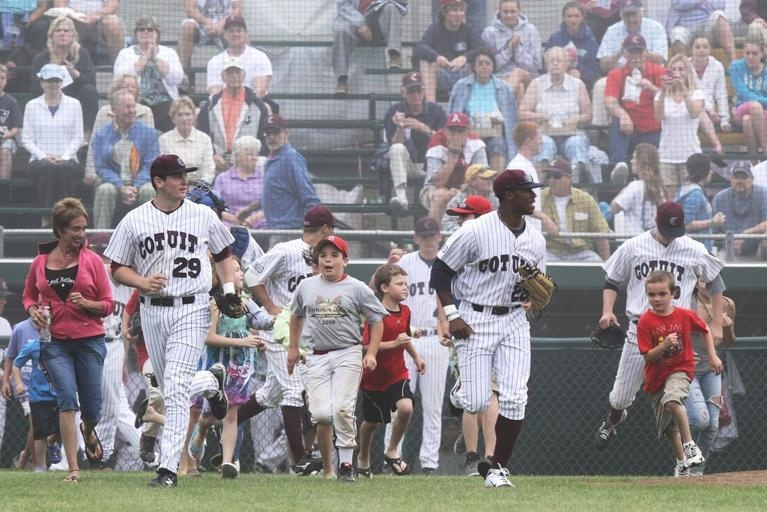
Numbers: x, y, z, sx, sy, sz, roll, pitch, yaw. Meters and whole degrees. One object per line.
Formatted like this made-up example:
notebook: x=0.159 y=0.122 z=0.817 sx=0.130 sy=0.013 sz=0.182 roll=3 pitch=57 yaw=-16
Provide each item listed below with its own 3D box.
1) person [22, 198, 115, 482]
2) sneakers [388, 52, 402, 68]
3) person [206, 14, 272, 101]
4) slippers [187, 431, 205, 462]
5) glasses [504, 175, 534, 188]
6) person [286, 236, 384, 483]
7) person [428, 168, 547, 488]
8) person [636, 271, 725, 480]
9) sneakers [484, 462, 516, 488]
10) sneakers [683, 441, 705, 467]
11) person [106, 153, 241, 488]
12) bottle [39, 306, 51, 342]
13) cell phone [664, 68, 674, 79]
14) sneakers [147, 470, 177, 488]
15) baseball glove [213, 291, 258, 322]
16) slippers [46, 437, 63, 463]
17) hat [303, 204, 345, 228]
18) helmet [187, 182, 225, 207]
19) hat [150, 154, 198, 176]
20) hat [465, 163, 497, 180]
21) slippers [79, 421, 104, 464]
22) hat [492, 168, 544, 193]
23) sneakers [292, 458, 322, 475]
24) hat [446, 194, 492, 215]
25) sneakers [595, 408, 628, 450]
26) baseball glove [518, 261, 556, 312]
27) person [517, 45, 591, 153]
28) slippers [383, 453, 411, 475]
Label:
person: x=-4.079 y=1.091 z=23.871 sx=1.087 sy=3.623 sz=0.551 roll=2 pitch=-7 yaw=-10
sneakers: x=0.228 y=-3.256 z=30.620 sx=0.158 sy=0.240 sz=0.256 roll=0 pitch=-7 yaw=0
person: x=-2.407 y=-3.264 z=30.298 sx=1.130 sy=1.470 sz=1.385 roll=-5 pitch=11 yaw=-4
slippers: x=-2.473 y=2.545 z=24.659 sx=0.173 sy=0.441 sz=0.190 roll=12 pitch=2 yaw=-21
glasses: x=1.782 y=-0.959 z=23.414 sx=0.247 sy=0.128 sz=0.169 roll=3 pitch=8 yaw=6
person: x=-0.609 y=1.337 z=23.966 sx=1.224 sy=3.134 sz=0.529 roll=2 pitch=-6 yaw=-5
person: x=1.403 y=0.909 z=23.459 sx=1.311 sy=4.034 sz=0.604 roll=1 pitch=-6 yaw=4
person: x=3.938 y=1.576 z=24.678 sx=1.026 sy=2.733 sz=0.617 roll=1 pitch=-6 yaw=-1
sneakers: x=1.487 y=2.829 z=23.507 sx=0.179 sy=0.222 sz=0.509 roll=3 pitch=-8 yaw=-27
sneakers: x=4.205 y=2.630 z=24.514 sx=0.305 sy=0.368 sz=0.227 roll=5 pitch=-8 yaw=-33
person: x=-2.688 y=0.817 z=23.554 sx=1.599 sy=4.221 sz=0.547 roll=2 pitch=-6 yaw=-6
bottle: x=-4.362 y=0.865 z=23.855 sx=0.139 sy=0.476 sz=0.117 roll=2 pitch=-7 yaw=-11
cell phone: x=4.713 y=-3.001 z=30.209 sx=0.145 sy=0.129 sz=0.140 roll=4 pitch=-5 yaw=-36
sneakers: x=-2.801 y=2.839 z=23.446 sx=0.333 sy=0.204 sz=0.193 roll=8 pitch=-7 yaw=-5
baseball glove: x=-1.912 y=0.590 z=23.928 sx=0.444 sy=0.317 sz=0.201 roll=18 pitch=32 yaw=-1
slippers: x=-4.569 y=2.727 z=25.710 sx=0.215 sy=0.517 sz=0.213 roll=1 pitch=-11 yaw=-25
hat: x=-0.737 y=-0.509 z=24.751 sx=0.599 sy=0.312 sz=0.372 roll=0 pitch=8 yaw=-13
helmet: x=-2.397 y=-0.780 z=24.997 sx=0.453 sy=0.156 sz=0.295 roll=19 pitch=19 yaw=-4
hat: x=-2.691 y=-1.160 z=23.621 sx=0.510 sy=0.215 sz=0.307 roll=-10 pitch=6 yaw=0
hat: x=1.590 y=-1.367 z=29.838 sx=0.390 sy=0.160 sz=0.249 roll=-6 pitch=4 yaw=1
slippers: x=-3.974 y=2.519 z=24.957 sx=0.325 sy=0.217 sz=0.815 roll=-4 pitch=-45 yaw=7
hat: x=1.718 y=-0.962 z=23.488 sx=0.467 sy=0.241 sz=0.320 roll=0 pitch=8 yaw=5
sneakers: x=-0.988 y=2.830 z=24.696 sx=0.478 sy=0.219 sz=0.179 roll=-2 pitch=1 yaw=-4
hat: x=1.210 y=-0.693 z=25.203 sx=0.480 sy=0.187 sz=0.302 roll=-3 pitch=4 yaw=2
sneakers: x=3.257 y=2.466 z=25.994 sx=0.232 sy=0.682 sz=0.267 roll=39 pitch=-1 yaw=-12
baseball glove: x=1.974 y=0.385 z=23.481 sx=0.458 sy=0.554 sz=0.298 roll=0 pitch=-6 yaw=4
person: x=2.879 y=-2.667 z=30.300 sx=1.163 sy=1.448 sz=0.891 roll=0 pitch=6 yaw=4
slippers: x=0.118 y=2.845 z=25.169 sx=0.254 sy=0.162 sz=0.467 roll=-11 pitch=17 yaw=-39
